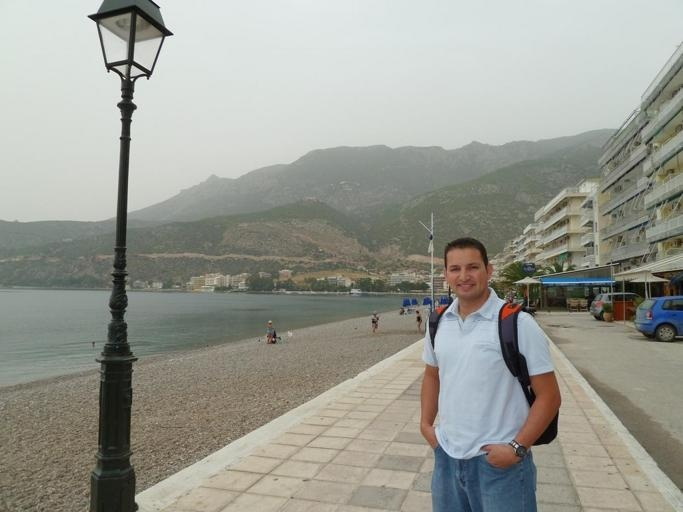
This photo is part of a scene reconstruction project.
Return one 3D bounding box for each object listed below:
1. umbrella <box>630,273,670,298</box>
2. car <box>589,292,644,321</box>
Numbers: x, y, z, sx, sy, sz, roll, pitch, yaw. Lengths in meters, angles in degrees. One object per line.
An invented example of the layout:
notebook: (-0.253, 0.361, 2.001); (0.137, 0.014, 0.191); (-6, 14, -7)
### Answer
umbrella: (16.574, 1.625, 29.219); (1.495, 1.192, 1.737); (0, 1, 41)
car: (15.545, 2.790, 30.837); (3.028, 1.391, 1.756); (-3, -2, 5)
